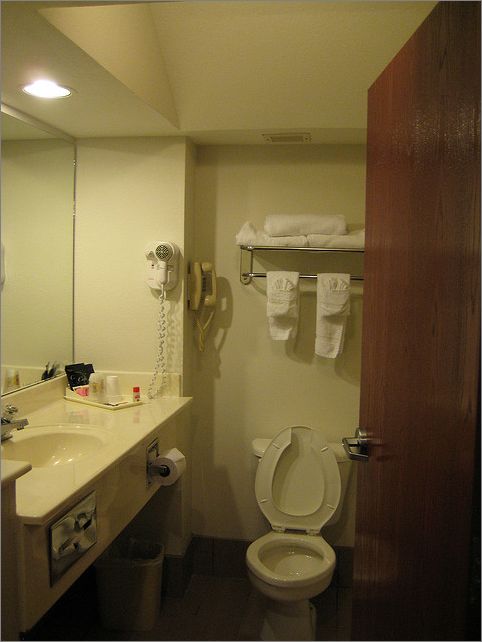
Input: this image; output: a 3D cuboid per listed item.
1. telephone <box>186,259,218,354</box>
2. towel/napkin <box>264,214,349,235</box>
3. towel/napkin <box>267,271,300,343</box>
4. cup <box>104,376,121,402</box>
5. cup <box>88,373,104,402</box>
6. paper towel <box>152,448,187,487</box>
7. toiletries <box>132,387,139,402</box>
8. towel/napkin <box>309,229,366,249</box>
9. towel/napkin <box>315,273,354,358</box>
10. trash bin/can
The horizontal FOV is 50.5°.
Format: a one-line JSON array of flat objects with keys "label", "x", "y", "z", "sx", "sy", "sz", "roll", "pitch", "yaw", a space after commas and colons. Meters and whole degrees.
[{"label": "telephone", "x": -0.173, "y": -0.060, "z": 2.385, "sx": 0.124, "sy": 0.419, "sz": 0.143, "roll": 1, "pitch": 2, "yaw": -1}, {"label": "towel/napkin", "x": 0.276, "y": -0.425, "z": 2.260, "sx": 0.337, "sy": 0.111, "sz": 0.103, "roll": 2, "pitch": 2, "yaw": 5}, {"label": "towel/napkin", "x": 0.185, "y": -0.068, "z": 2.283, "sx": 0.134, "sy": 0.343, "sz": 0.057, "roll": 2, "pitch": 20, "yaw": 14}, {"label": "cup", "x": -0.517, "y": 0.284, "z": 2.135, "sx": 0.081, "sy": 0.139, "sz": 0.086, "roll": 0, "pitch": -2, "yaw": 0}, {"label": "cup", "x": -0.584, "y": 0.279, "z": 2.146, "sx": 0.057, "sy": 0.118, "sz": 0.038, "roll": 1, "pitch": 2, "yaw": -17}, {"label": "paper towel", "x": -0.263, "y": 0.556, "z": 1.895, "sx": 0.117, "sy": 0.134, "sz": 0.098, "roll": 2, "pitch": 2, "yaw": -2}, {"label": "toiletries", "x": -0.430, "y": 0.310, "z": 2.190, "sx": 0.026, "sy": 0.060, "sz": 0.081, "roll": 1, "pitch": 2, "yaw": -13}, {"label": "towel/napkin", "x": 0.396, "y": -0.364, "z": 2.236, "sx": 0.233, "sy": 0.102, "sz": 0.114, "roll": 2, "pitch": 2, "yaw": 8}, {"label": "towel/napkin", "x": 0.389, "y": -0.027, "z": 2.252, "sx": 0.134, "sy": 0.372, "sz": 0.067, "roll": 2, "pitch": 2, "yaw": 7}, {"label": "trash bin/can", "x": -0.431, "y": 1.096, "z": 2.149, "sx": 0.229, "sy": 0.319, "sz": 0.300, "roll": 0, "pitch": -9, "yaw": -3}]
